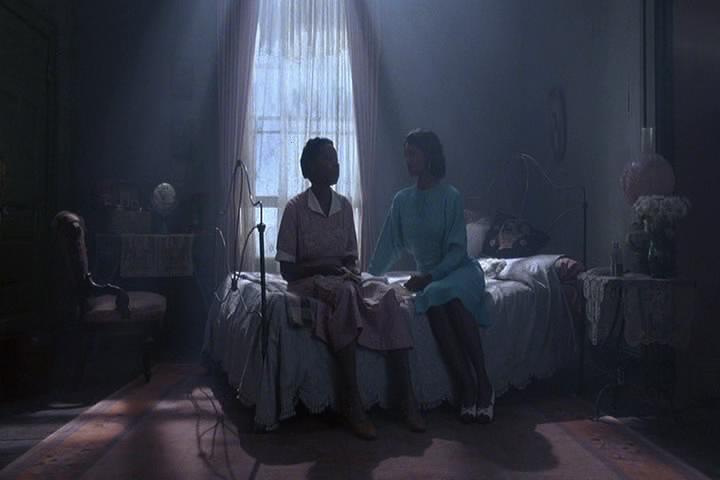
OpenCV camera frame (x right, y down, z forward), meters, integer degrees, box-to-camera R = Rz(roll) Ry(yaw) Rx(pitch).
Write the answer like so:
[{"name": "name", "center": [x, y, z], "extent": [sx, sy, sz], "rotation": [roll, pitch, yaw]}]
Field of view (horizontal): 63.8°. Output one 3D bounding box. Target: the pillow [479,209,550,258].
[{"name": "pillow", "center": [1.530, -0.037, 5.693], "extent": [0.435, 0.183, 0.470], "rotation": [0, 30, 3]}]

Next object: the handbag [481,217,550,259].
[{"name": "handbag", "center": [1.633, -0.104, 6.112], "extent": [0.637, 0.343, 0.992], "rotation": [2, 16, -2]}]

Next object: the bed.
[{"name": "bed", "center": [0.298, 0.408, 4.577], "extent": [2.044, 1.500, 1.569], "rotation": [2, -2, -11]}]

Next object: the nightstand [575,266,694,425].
[{"name": "nightstand", "center": [2.017, 0.674, 4.361], "extent": [0.619, 0.788, 0.683], "rotation": [6, 7, 30]}]

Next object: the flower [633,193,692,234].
[{"name": "flower", "center": [2.234, -0.191, 4.273], "extent": [0.386, 0.269, 0.427], "rotation": [-1, 8, 9]}]

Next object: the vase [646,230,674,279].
[{"name": "vase", "center": [2.161, 0.104, 4.128], "extent": [0.175, 0.309, 0.112], "rotation": [1, 11, 7]}]

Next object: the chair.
[{"name": "chair", "center": [-2.113, 0.436, 4.902], "extent": [0.793, 1.217, 0.824], "rotation": [-1, 3, -25]}]

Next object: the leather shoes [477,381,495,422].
[{"name": "leather shoes", "center": [0.889, 1.210, 4.114], "extent": [0.088, 0.114, 0.293], "rotation": [-27, -6, 15]}]
